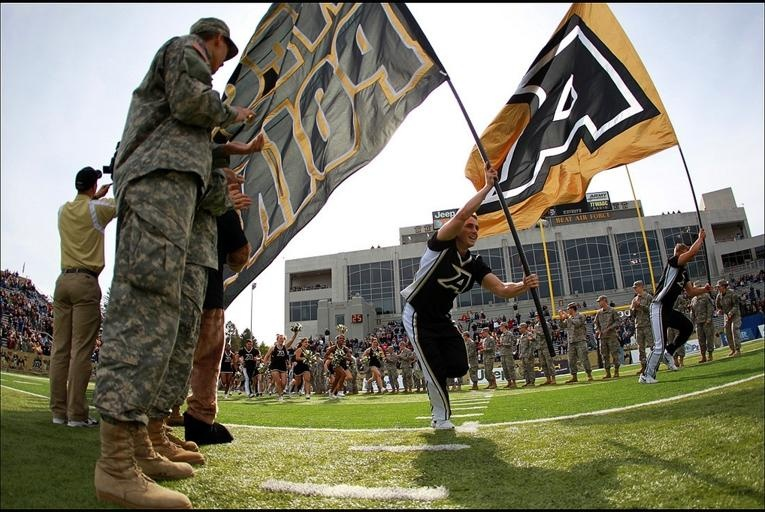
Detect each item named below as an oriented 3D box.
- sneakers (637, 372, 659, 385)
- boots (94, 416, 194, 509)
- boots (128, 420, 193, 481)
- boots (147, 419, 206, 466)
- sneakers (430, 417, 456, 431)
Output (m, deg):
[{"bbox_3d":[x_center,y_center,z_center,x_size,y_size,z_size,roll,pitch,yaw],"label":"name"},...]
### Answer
[{"bbox_3d":[4.862,2.240,9.100,0.380,0.280,0.163,-8,-9,29],"label":"sneakers"},{"bbox_3d":[-1.620,1.400,3.457,0.591,0.568,0.473,-2,-11,-6],"label":"boots"},{"bbox_3d":[-1.652,1.474,3.730,0.513,0.353,0.169,20,-18,-31],"label":"boots"},{"bbox_3d":[-1.730,1.563,4.089,0.517,0.334,0.161,15,-34,-41],"label":"boots"},{"bbox_3d":[0.695,1.952,5.786,0.271,0.127,0.110,-3,-9,23],"label":"sneakers"}]
